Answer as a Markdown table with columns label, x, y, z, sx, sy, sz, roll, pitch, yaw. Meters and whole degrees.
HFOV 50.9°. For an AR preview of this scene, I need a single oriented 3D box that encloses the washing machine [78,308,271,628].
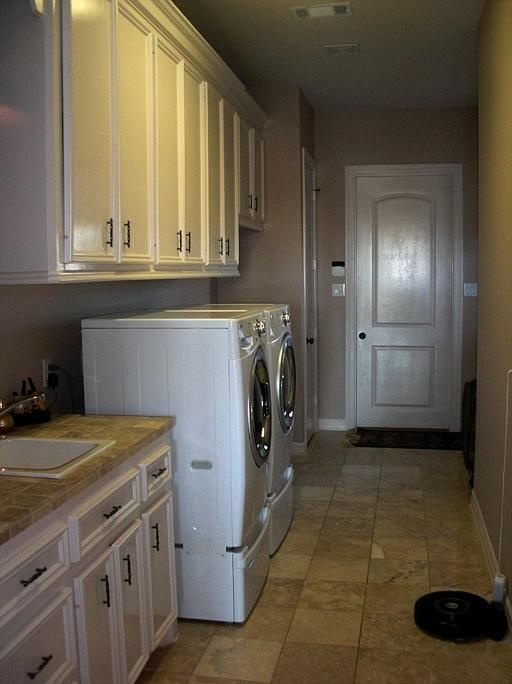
| label | x | y | z | sx | sy | sz | roll | pitch | yaw |
| --- | --- | --- | --- | --- | --- | --- | --- | --- | --- |
| washing machine | -0.204 | 0.412 | 2.845 | 0.864 | 1.834 | 1.192 | -1 | 3 | 9 |
